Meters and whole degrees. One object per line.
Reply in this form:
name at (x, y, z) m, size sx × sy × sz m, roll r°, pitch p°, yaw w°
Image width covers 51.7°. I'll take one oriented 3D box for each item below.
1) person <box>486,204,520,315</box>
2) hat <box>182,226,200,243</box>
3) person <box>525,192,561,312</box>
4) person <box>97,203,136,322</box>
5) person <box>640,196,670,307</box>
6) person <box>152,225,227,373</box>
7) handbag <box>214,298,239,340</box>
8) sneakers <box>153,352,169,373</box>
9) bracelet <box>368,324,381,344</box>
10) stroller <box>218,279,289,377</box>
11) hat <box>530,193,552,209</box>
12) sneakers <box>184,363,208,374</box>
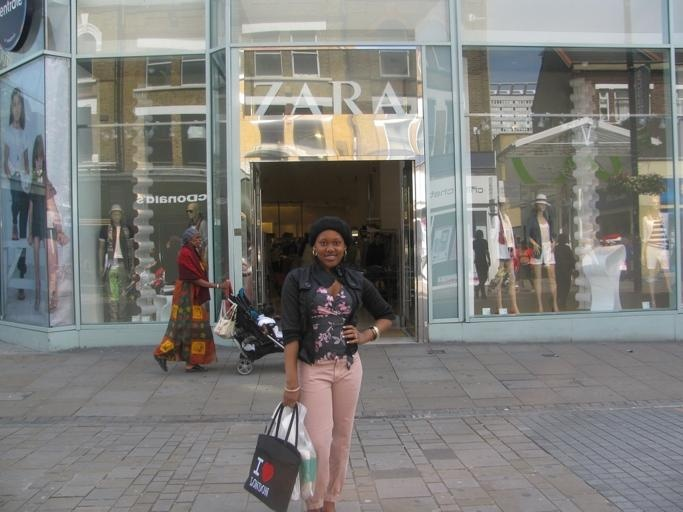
person at (2.859, 0.009, 12.443) m, size 0.544 × 2.092 × 0.484 m, roll 1°, pitch -12°, yaw 4°
hat at (-2.258, -0.308, 10.569) m, size 0.274 × 0.214 × 0.211 m, roll 1°, pitch 10°, yaw 9°
person at (3.513, -0.061, 12.489) m, size 0.578 × 2.018 × 0.504 m, roll -1°, pitch 9°, yaw -1°
person at (-3.992, 0.112, 12.526) m, size 0.623 × 1.986 × 0.514 m, roll -4°, pitch 10°, yaw -18°
person at (5.610, -0.091, 12.632) m, size 0.498 × 1.941 × 0.429 m, roll -2°, pitch 9°, yaw -6°
person at (-2.279, 0.685, 10.532) m, size 0.933 × 2.158 × 0.464 m, roll -3°, pitch 10°, yaw -12°
handbag at (-1.715, 0.944, 10.435) m, size 0.323 × 0.649 × 0.368 m, roll -2°, pitch 10°, yaw -10°
sneakers at (-2.737, 1.606, 10.586) m, size 0.110 × 0.343 × 0.201 m, roll 2°, pitch 19°, yaw 31°
bracelet at (0.305, 0.733, 6.590) m, size 0.117 × 0.132 × 0.128 m, roll 11°, pitch 3°, yaw 3°
stroller at (-1.281, 1.117, 10.756) m, size 1.107 × 1.033 × 0.748 m, roll -2°, pitch -3°, yaw -30°
hat at (3.533, -0.974, 12.554) m, size 0.259 × 0.146 × 0.276 m, roll 4°, pitch -8°, yaw -26°
sneakers at (-2.204, 1.691, 10.622) m, size 0.310 × 0.132 × 0.125 m, roll -1°, pitch 3°, yaw -16°
